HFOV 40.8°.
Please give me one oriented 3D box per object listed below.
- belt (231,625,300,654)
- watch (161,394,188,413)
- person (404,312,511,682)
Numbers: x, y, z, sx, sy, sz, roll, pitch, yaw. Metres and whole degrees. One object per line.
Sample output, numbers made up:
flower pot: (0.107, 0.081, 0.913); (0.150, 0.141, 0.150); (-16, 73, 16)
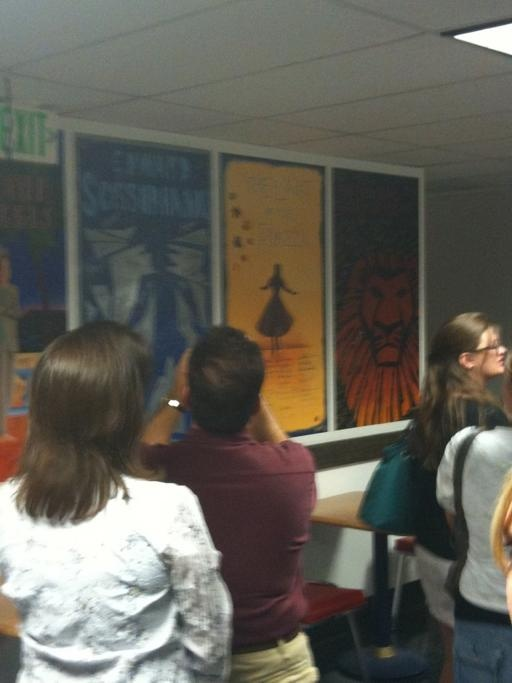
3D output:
belt: (0.020, 0.602, 1.379); (0.138, 0.040, 0.010); (-2, 8, -17)
watch: (-0.157, 0.125, 1.357); (0.043, 0.023, 0.037); (11, -25, -32)
person: (0.425, 0.339, 1.477); (0.217, 0.806, 0.113); (0, 8, 9)
